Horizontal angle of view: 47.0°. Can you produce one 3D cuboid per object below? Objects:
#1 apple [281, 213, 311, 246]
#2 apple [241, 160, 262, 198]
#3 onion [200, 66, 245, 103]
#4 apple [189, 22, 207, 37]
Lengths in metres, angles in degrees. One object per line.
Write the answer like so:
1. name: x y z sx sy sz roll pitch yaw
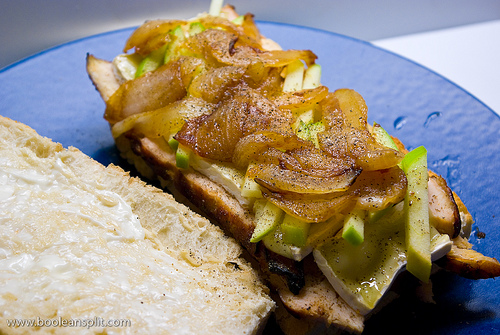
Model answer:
1. apple: 0.330 0.462 4.248 0.186 0.167 0.255 46 22 8
2. apple: 0.010 0.078 4.385 0.152 0.190 0.268 0 46 0
3. onion: -0.229 -0.701 4.808 0.079 0.281 0.269 -15 2 32
4. apple: -0.487 -1.255 5.281 0.152 0.083 0.310 -4 46 -4
